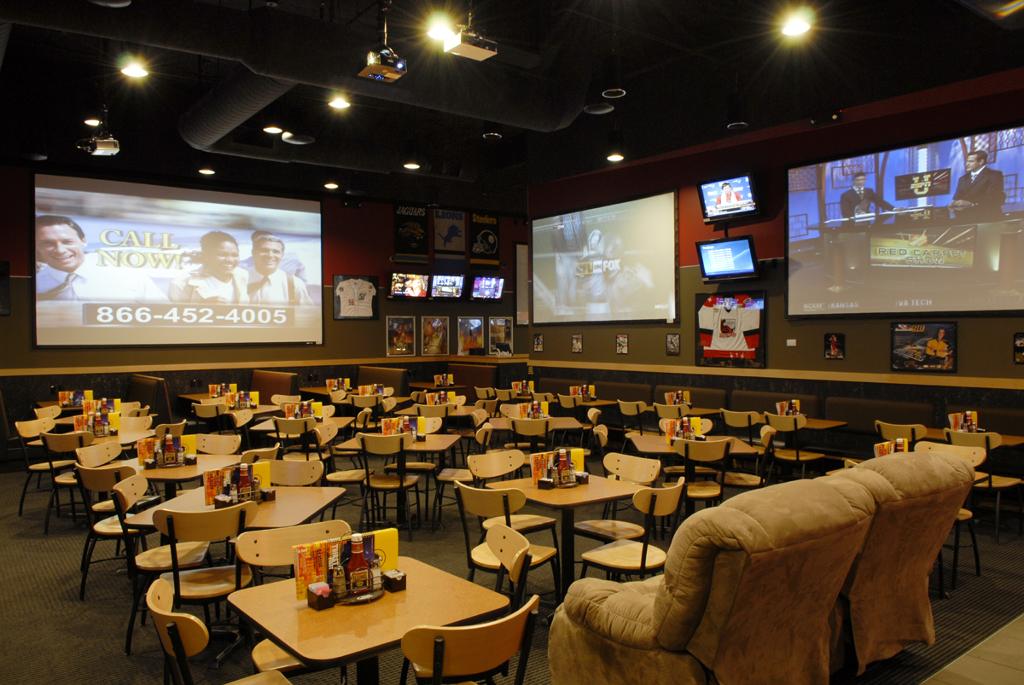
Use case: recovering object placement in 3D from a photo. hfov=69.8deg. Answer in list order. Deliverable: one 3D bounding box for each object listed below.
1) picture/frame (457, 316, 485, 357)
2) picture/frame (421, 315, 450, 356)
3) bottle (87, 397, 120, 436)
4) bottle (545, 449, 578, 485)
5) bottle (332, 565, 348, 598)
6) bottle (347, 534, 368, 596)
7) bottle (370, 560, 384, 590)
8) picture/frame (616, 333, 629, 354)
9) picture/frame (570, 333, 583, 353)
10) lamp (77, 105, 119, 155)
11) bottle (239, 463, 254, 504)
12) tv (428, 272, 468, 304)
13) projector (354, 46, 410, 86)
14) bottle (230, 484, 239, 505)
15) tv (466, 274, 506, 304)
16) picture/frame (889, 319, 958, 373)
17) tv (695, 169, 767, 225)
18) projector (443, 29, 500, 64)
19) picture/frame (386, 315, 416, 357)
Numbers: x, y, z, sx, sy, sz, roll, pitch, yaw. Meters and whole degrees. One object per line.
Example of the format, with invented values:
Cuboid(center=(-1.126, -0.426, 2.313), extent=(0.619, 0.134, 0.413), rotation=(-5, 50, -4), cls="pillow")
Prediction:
Cuboid(center=(-1.035, -0.143, 17.465), extent=(0.923, 1.207, 0.130), rotation=(6, -11, -44), cls="picture/frame")
Cuboid(center=(-1.821, -0.150, 16.921), extent=(0.082, 1.123, 0.963), rotation=(-3, -3, 44), cls="picture/frame")
Cuboid(center=(-5.270, 0.964, 9.437), extent=(0.354, 0.461, 0.353), rotation=(3, 2, 0), cls="bottle")
Cuboid(center=(0.442, 1.196, 7.018), extent=(0.363, 0.328, 0.170), rotation=(-2, 0, -28), cls="bottle")
Cuboid(center=(-1.228, 1.696, 5.200), extent=(0.101, 0.242, 0.029), rotation=(-3, 0, -17), cls="bottle")
Cuboid(center=(-1.104, 1.589, 5.241), extent=(0.139, 0.427, 0.061), rotation=(-3, 0, -15), cls="bottle")
Cuboid(center=(-0.974, 1.669, 5.284), extent=(0.030, 0.217, 0.098), rotation=(-2, 0, 45), cls="bottle")
Cuboid(center=(1.968, 0.035, 13.123), extent=(0.242, 0.344, 0.017), rotation=(-2, 0, 42), cls="picture/frame")
Cuboid(center=(1.213, 0.016, 13.907), extent=(0.051, 0.464, 0.347), rotation=(-4, 7, -40), cls="picture/frame")
Cuboid(center=(-6.060, -3.143, 10.793), extent=(0.527, 0.657, 0.271), rotation=(-3, 18, -29), cls="lamp")
Cuboid(center=(-2.407, 1.256, 6.618), extent=(0.063, 0.343, 0.171), rotation=(-2, 0, 44), cls="bottle")
Cuboid(center=(-1.511, -1.272, 16.919), extent=(1.006, 0.667, 0.522), rotation=(0, 10, -22), cls="tv")
Cuboid(center=(-1.395, -2.971, 7.795), extent=(0.373, 0.378, 0.405), rotation=(-3, 0, -33), cls="projector")
Cuboid(center=(-2.477, 1.343, 6.537), extent=(0.076, 0.166, 0.068), rotation=(-3, 0, -23), cls="bottle")
Cuboid(center=(-0.655, -1.297, 17.602), extent=(0.945, 0.566, 0.263), rotation=(-2, 0, -37), cls="tv")
Cuboid(center=(5.527, 0.043, 9.793), extent=(0.709, 0.680, 0.075), rotation=(-4, -5, 43), cls="picture/frame")
Cuboid(center=(3.440, -2.252, 11.396), extent=(0.143, 0.728, 1.019), rotation=(-12, 6, -37), cls="tv")
Cuboid(center=(-0.447, -3.179, 7.820), extent=(0.471, 0.288, 0.309), rotation=(-2, 0, -37), cls="projector")
Cuboid(center=(-2.534, -0.141, 16.387), extent=(0.951, 1.102, 0.079), rotation=(3, -10, -41), cls="picture/frame")
